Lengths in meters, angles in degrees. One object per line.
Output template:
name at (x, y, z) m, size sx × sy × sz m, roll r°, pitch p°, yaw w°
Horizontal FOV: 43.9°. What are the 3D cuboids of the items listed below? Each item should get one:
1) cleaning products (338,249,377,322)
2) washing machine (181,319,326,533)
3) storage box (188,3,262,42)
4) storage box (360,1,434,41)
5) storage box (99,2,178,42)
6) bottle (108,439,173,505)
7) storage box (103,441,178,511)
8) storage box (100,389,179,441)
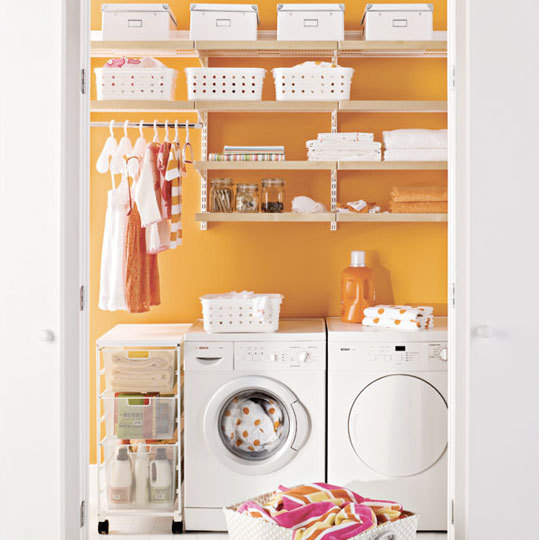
cleaning products at (0.424, 0.073, 3.295) m, size 0.163 × 0.312 × 0.291 m, roll -1°, pitch 31°, yaw 7°
washing machine at (-0.089, 0.693, 3.245) m, size 0.893 × 1.145 × 0.820 m, roll 0°, pitch 0°, yaw 1°
storage box at (-0.220, -1.157, 3.141) m, size 0.285 × 0.125 × 0.194 m, roll 0°, pitch 10°, yaw -3°
storage box at (0.601, -1.163, 3.150) m, size 0.303 × 0.150 × 0.102 m, roll 1°, pitch 32°, yaw 8°
storage box at (-0.639, -1.161, 3.144) m, size 0.310 × 0.155 × 0.115 m, roll -2°, pitch 31°, yaw 4°
bottle at (-0.584, 0.906, 3.006) m, size 0.331 × 0.287 × 0.175 m, roll 0°, pitch 1°, yaw 1°
storage box at (-0.578, 0.921, 3.006) m, size 0.342 × 0.299 × 0.177 m, roll 1°, pitch 3°, yaw 2°
storage box at (-0.584, 0.635, 2.979) m, size 0.375 × 0.232 × 0.195 m, roll 1°, pitch -3°, yaw 1°
